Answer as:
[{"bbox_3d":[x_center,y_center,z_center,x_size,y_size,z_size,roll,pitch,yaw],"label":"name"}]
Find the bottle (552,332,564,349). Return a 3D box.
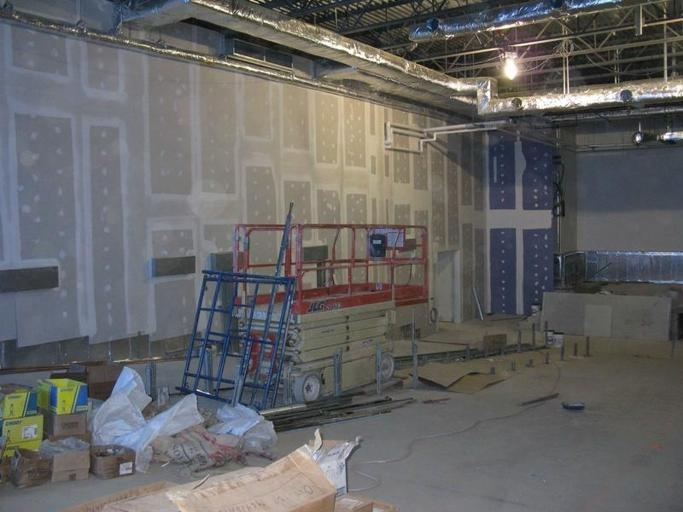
[{"bbox_3d":[4.416,1.720,12.726,0.260,0.306,0.253,-1,4,-44],"label":"bottle"}]
